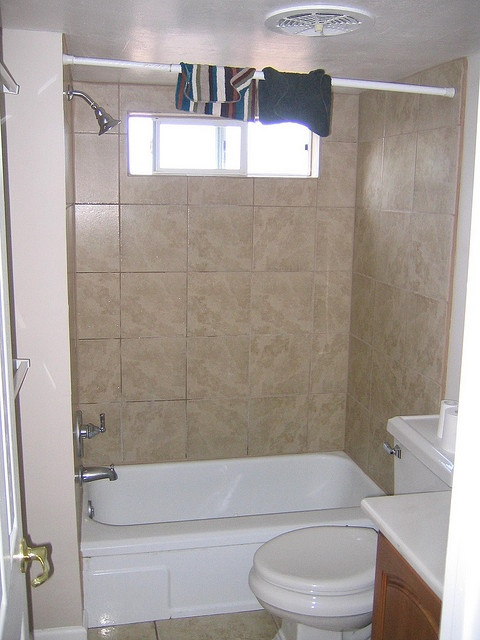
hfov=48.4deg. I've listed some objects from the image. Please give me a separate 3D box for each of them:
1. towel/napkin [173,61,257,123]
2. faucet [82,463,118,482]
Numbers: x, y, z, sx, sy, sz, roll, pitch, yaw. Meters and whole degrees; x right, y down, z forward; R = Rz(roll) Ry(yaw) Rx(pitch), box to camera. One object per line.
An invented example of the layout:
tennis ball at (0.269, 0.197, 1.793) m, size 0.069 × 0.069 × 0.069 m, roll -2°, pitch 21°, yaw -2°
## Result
towel/napkin at (-0.084, -0.841, 1.976) m, size 0.304 × 0.168 × 0.133 m, roll -4°, pitch 7°, yaw -14°
faucet at (-0.649, 0.711, 2.428) m, size 0.132 × 0.083 × 0.086 m, roll -1°, pitch 5°, yaw -24°
